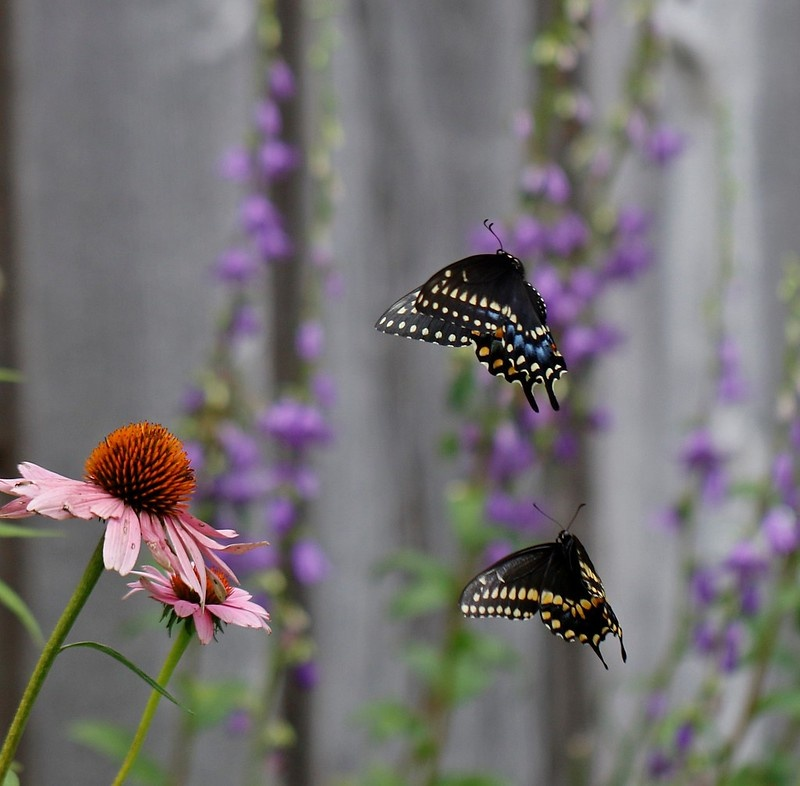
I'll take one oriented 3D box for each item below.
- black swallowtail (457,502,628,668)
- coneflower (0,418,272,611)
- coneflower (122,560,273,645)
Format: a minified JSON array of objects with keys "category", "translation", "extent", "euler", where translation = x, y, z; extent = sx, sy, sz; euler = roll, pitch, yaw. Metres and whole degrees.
[{"category":"black swallowtail","translation":[0.163,0.233,1.891],"extent":[0.160,0.134,0.181],"euler":[17,54,-38]},{"category":"coneflower","translation":[-0.279,0.109,1.617],"extent":[0.186,0.110,0.194],"euler":[19,12,-38]},{"category":"coneflower","translation":[-0.218,0.230,1.703],"extent":[0.166,0.097,0.161],"euler":[5,1,-34]}]
